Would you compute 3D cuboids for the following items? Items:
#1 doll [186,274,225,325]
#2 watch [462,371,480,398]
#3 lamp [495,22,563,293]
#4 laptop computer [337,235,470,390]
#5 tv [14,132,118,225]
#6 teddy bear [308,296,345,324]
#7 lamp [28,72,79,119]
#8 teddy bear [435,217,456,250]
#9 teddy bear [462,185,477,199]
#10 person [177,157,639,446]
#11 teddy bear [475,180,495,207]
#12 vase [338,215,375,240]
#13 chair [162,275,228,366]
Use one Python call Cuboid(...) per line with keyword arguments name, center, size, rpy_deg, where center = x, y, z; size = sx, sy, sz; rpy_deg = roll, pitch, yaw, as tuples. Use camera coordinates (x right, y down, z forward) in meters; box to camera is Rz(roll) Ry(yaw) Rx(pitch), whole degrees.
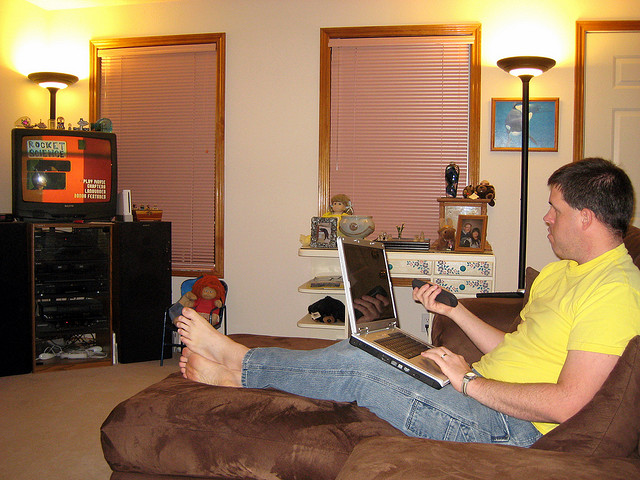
Cuboid(name="doll", center=(-0.866, 0.456, 3.897), size=(0.268, 0.378, 0.232), rpy_deg=(6, 5, -18))
Cuboid(name="watch", center=(0.549, 0.535, 1.951), size=(0.053, 0.089, 0.094), rpy_deg=(8, -7, 29))
Cuboid(name="lamp", center=(1.537, -0.476, 3.958), size=(0.538, 2.661, 0.338), rpy_deg=(2, 7, 4))
Cuboid(name="laptop computer", center=(0.381, 0.280, 2.253), size=(0.619, 0.429, 0.435), rpy_deg=(19, 9, 38))
Cuboid(name="tv", center=(-1.957, -0.485, 3.898), size=(0.765, 0.671, 0.397), rpy_deg=(0, 5, -17))
Cuboid(name="teddy bear", center=(0.054, 0.488, 3.592), size=(0.199, 0.085, 0.247), rpy_deg=(0, -1, 5))
Cuboid(name="lamp", center=(-2.306, -1.234, 4.447), size=(0.385, 0.349, 0.341), rpy_deg=(2, 6, 42))
Cuboid(name="teddy bear", center=(0.885, -0.020, 3.621), size=(0.170, 0.185, 0.161), rpy_deg=(5, 14, 15))
Cuboid(name="teddy bear", center=(1.090, -0.351, 3.772), size=(0.076, 0.098, 0.041), rpy_deg=(9, -5, 11))
Cuboid(name="person", center=(0.180, 0.195, 2.241), size=(1.964, 1.080, 0.982), rpy_deg=(2, 10, 16))
Cuboid(name="teddy bear", center=(1.226, -0.353, 3.815), size=(0.167, 0.166, 0.150), rpy_deg=(6, -1, 8))
Cuboid(name="vase", center=(0.253, -0.105, 3.655), size=(0.275, 0.180, 0.172), rpy_deg=(3, 5, 18))
Cuboid(name="chair", center=(-0.902, 0.605, 3.808), size=(0.454, 0.602, 0.424), rpy_deg=(5, 5, -10))
